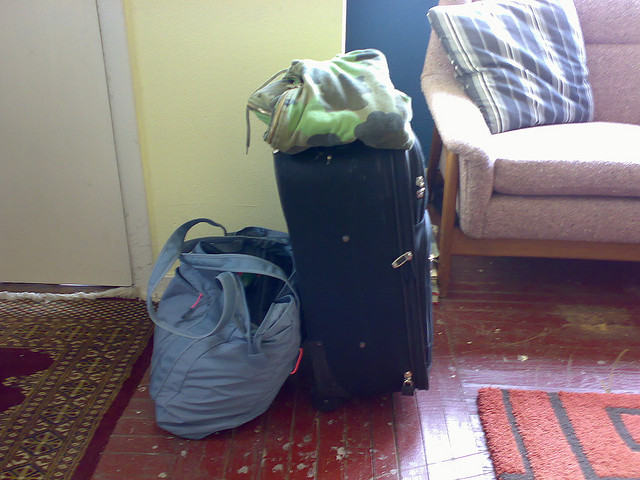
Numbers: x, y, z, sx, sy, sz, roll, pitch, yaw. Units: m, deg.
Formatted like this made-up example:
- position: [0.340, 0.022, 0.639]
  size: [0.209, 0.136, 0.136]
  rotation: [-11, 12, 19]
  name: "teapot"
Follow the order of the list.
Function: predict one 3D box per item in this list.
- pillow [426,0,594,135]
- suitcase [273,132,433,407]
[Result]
- position: [0.597, -0.573, 2.036]
  size: [0.650, 0.491, 0.176]
  rotation: [-20, 2, -26]
  name: "pillow"
- position: [0.109, 0.096, 1.334]
  size: [0.358, 0.673, 0.296]
  rotation: [-7, 34, -2]
  name: "suitcase"
